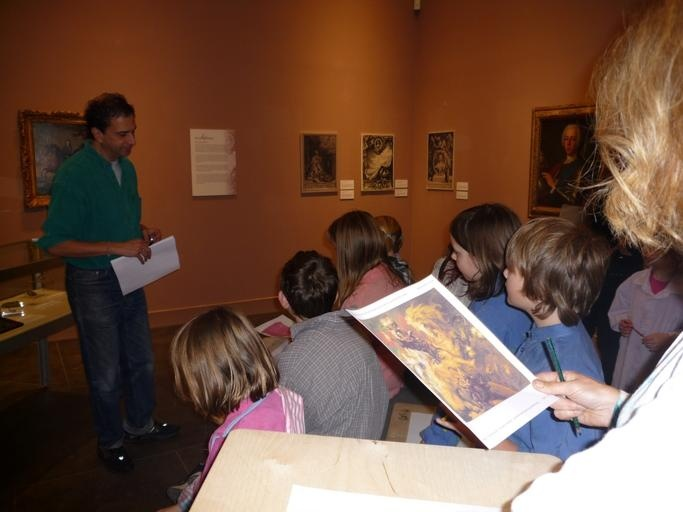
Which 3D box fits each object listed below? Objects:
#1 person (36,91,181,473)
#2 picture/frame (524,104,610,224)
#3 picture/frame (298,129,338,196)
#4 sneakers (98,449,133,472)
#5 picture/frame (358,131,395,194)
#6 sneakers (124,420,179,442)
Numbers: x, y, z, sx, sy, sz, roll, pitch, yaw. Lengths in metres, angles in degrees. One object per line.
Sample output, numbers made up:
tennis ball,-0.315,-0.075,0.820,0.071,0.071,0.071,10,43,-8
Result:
person,-1.533,0.184,3.347,0.445,2.516,0.736,5,10,28
picture/frame,2.438,-0.998,5.336,0.080,1.202,1.085,-1,9,-18
picture/frame,-0.336,-1.276,6.620,0.697,1.098,0.063,-7,15,-26
sneakers,-1.568,1.383,3.469,0.260,0.135,0.114,10,8,31
picture/frame,0.471,-1.351,7.069,0.730,1.140,0.081,-5,6,-37
sneakers,-1.416,1.324,3.738,0.367,0.182,0.144,-4,8,-18
